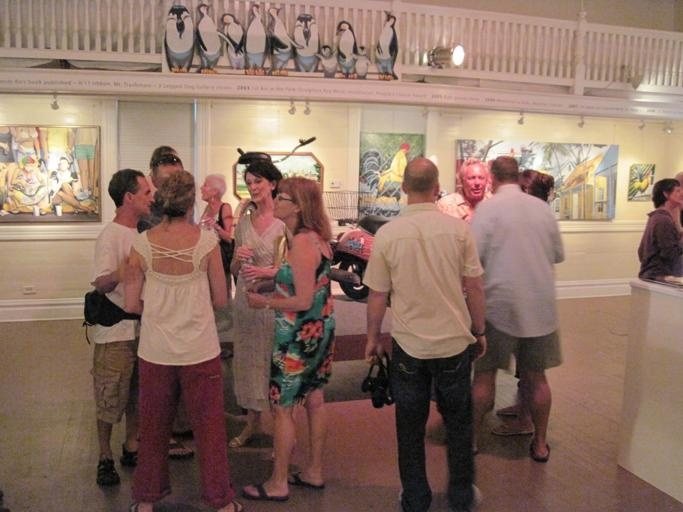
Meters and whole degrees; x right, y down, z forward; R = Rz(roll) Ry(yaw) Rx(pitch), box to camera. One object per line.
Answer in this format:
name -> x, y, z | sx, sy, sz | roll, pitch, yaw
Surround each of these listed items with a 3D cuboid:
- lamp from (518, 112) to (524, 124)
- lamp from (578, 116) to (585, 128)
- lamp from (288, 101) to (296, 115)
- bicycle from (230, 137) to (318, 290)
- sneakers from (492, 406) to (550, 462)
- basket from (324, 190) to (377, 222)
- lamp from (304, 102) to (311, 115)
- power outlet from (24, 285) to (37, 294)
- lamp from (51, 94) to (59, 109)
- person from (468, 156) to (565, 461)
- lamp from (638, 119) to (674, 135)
lamp -> 2.292, -1.754, 7.324 | 0.097, 0.181, 0.096 | 4, 2, 13
lamp -> 3.143, -1.762, 7.504 | 0.082, 0.094, 0.184 | -1, 51, 16
lamp -> -0.556, -1.676, 6.493 | 0.087, 0.146, 0.126 | -2, 8, -11
bicycle -> -0.718, -0.224, 5.249 | 0.694, 1.665, 0.513 | -4, 13, -30
sneakers -> 1.435, 1.362, 4.530 | 0.194, 0.272, 0.643 | 0, 4, -7
basket -> 0.086, -0.587, 6.657 | 0.459, 0.313, 0.466 | 0, 3, -16
lamp -> -0.389, -1.685, 6.551 | 0.075, 0.141, 0.139 | 0, 8, 0
power outlet -> -3.499, 0.380, 6.418 | 0.177, 0.120, 0.063 | 3, 8, 18
lamp -> -3.061, -1.646, 6.125 | 0.079, 0.164, 0.126 | -4, 9, -27
person -> 1.188, 0.284, 4.534 | 0.740, 2.314, 0.794 | -1, 3, -19
lamp -> 4.218, -1.734, 7.702 | 0.640, 0.167, 0.253 | -4, 9, -23
